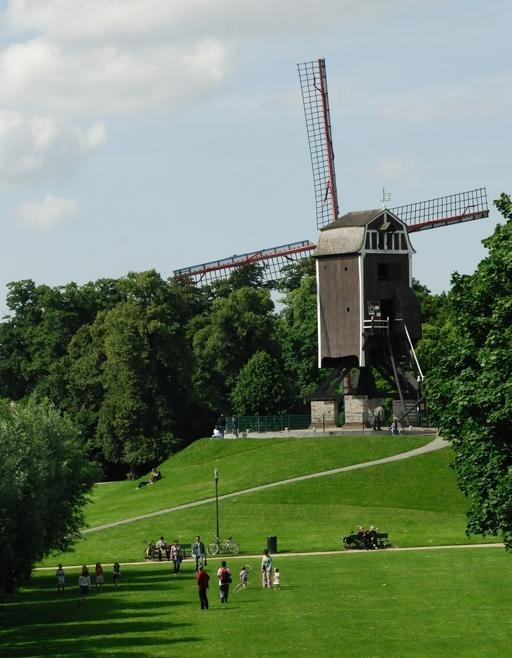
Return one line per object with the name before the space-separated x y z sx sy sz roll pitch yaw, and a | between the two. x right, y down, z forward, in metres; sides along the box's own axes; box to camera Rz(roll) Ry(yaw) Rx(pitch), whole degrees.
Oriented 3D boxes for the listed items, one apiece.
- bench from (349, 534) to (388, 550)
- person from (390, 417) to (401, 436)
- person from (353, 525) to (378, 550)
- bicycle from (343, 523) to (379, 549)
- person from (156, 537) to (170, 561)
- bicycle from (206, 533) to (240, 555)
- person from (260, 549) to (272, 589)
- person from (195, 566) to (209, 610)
bench | 4.716 9.113 65.284 0.847 0.581 1.246 3 -8 -22
person | 8.090 5.591 88.415 0.589 0.822 0.881 -4 2 4
person | 4.958 8.923 65.329 0.878 0.799 0.954 -4 -2 -39
bicycle | 4.668 8.974 65.445 1.385 0.863 0.851 -9 -8 43
person | -4.261 9.737 67.807 0.556 0.960 1.958 -4 2 -5
bicycle | -1.552 9.532 67.000 1.559 0.911 0.778 1 -4 9
person | 0.321 8.704 55.545 0.357 1.226 1.411 -4 2 -1
person | -1.836 8.793 51.518 0.350 1.253 0.981 -4 2 -2
